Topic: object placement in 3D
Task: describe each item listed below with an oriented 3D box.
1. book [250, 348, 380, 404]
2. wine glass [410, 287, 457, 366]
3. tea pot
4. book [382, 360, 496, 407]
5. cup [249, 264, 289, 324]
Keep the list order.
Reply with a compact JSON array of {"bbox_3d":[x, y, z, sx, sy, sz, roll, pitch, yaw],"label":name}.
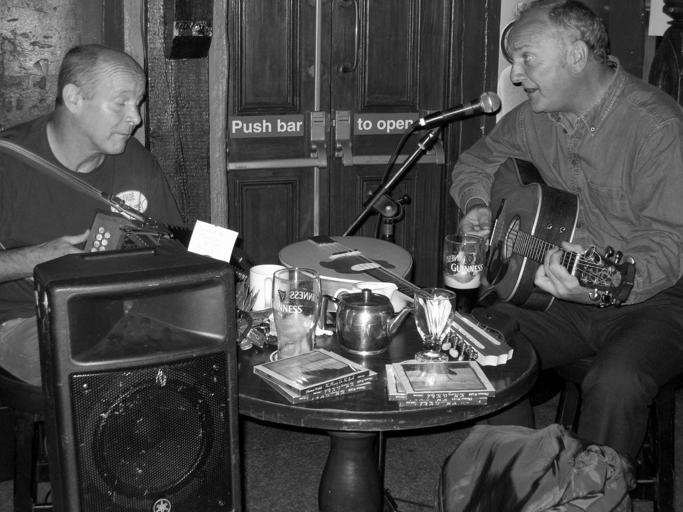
[{"bbox_3d":[-0.068,0.343,2.043,0.181,0.041,0.184,-9,20,-27],"label":"book"},{"bbox_3d":[0.294,0.208,2.252,0.131,0.232,0.140,-4,18,-15],"label":"wine glass"},{"bbox_3d":[0.075,0.199,2.247,0.259,0.200,0.171,4,15,0],"label":"tea pot"},{"bbox_3d":[0.276,0.365,2.017,0.155,0.040,0.164,-1,14,-9],"label":"book"},{"bbox_3d":[-0.245,0.117,2.385,0.101,0.158,0.173,1,22,-7],"label":"cup"}]
